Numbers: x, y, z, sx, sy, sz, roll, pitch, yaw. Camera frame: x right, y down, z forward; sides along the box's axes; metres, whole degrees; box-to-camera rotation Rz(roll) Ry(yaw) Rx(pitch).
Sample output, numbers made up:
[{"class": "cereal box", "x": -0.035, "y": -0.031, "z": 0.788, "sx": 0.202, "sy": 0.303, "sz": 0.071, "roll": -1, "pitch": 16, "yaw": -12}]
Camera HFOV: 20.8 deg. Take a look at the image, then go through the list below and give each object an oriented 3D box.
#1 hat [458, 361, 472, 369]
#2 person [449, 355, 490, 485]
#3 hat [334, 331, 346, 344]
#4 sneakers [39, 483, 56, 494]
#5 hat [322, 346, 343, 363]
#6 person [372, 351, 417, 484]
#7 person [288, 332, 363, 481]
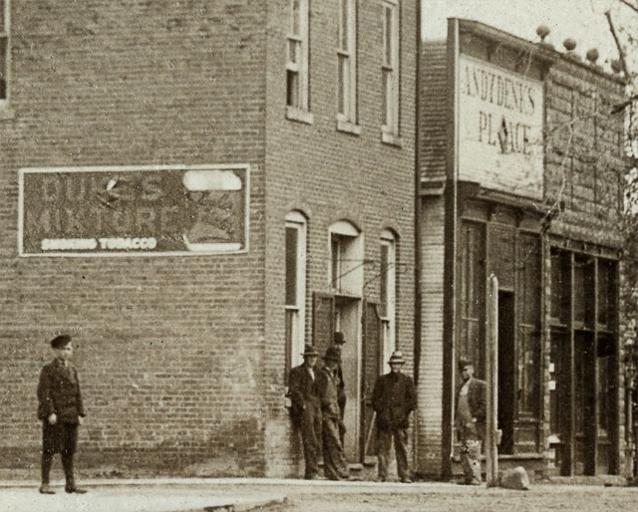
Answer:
[{"class": "hat", "x": 2.723, "y": 2.065, "z": 32.875, "sx": 0.136, "sy": 0.142, "sz": 0.183, "roll": -1, "pitch": 26, "yaw": -21}, {"class": "person", "x": 2.851, "y": 3.131, "z": 32.733, "sx": 0.582, "sy": 2.389, "sz": 0.585, "roll": 0, "pitch": -10, "yaw": 5}, {"class": "hat", "x": 0.381, "y": 1.576, "z": 33.297, "sx": 0.190, "sy": 0.118, "sz": 0.225, "roll": 23, "pitch": -5, "yaw": -11}, {"class": "sneakers", "x": -4.300, "y": 3.742, "z": 27.694, "sx": 0.113, "sy": 0.143, "sz": 0.332, "roll": 8, "pitch": -17, "yaw": -41}, {"class": "hat", "x": 0.205, "y": 1.851, "z": 32.494, "sx": 0.308, "sy": 0.176, "sz": 0.263, "roll": -2, "pitch": -8, "yaw": 38}, {"class": "person", "x": 1.412, "y": 3.059, "z": 32.892, "sx": 0.877, "sy": 2.518, "sz": 0.547, "roll": -2, "pitch": -11, "yaw": 17}, {"class": "person", "x": -0.002, "y": 2.886, "z": 31.772, "sx": 0.558, "sy": 2.483, "sz": 1.451, "roll": -8, "pitch": -14, "yaw": 40}]
